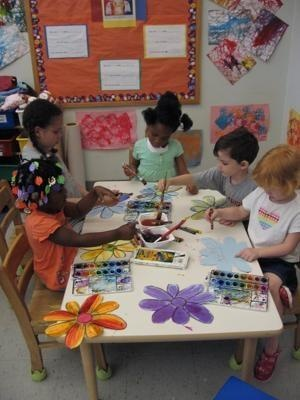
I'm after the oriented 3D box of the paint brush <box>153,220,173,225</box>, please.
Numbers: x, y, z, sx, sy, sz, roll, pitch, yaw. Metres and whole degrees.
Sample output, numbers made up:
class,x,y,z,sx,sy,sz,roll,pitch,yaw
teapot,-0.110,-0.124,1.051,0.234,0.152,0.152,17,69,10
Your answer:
class,x,y,z,sx,sy,sz,roll,pitch,yaw
paint brush,0.049,0.083,1.116,0.063,0.024,0.025,-9,-2,15

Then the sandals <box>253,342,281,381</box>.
class,x,y,z,sx,sy,sz,roll,pitch,yaw
sandals,0.476,0.641,1.245,0.062,0.065,0.160,11,66,33

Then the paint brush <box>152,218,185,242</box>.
class,x,y,z,sx,sy,sz,roll,pitch,yaw
paint brush,0.061,0.107,1.065,0.122,0.017,0.020,-32,-11,13

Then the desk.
class,x,y,z,sx,sy,sz,roll,pitch,yaw
desk,0.080,0.383,1.155,0.599,0.726,0.759,-6,33,-1

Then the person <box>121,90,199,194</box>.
class,x,y,z,sx,sy,sz,roll,pitch,yaw
person,0.066,-0.267,1.904,0.481,0.739,0.398,4,32,4
